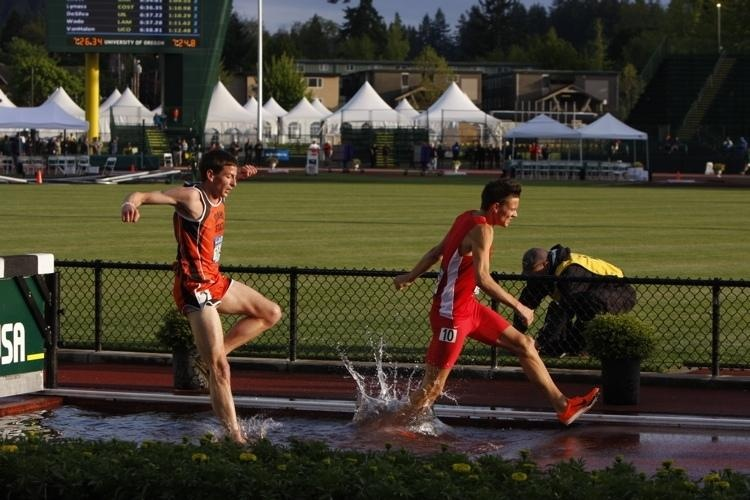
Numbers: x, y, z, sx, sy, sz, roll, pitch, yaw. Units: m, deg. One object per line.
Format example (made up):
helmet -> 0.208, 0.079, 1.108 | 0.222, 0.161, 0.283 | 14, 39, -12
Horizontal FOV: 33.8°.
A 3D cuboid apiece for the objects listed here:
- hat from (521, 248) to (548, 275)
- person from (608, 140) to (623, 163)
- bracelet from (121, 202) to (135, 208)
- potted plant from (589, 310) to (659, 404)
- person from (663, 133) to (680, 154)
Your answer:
hat -> 2.226, 0.162, 17.122 | 0.268, 0.198, 0.388 | 9, 43, 39
person -> 11.320, -4.631, 57.802 | 0.437, 1.235, 0.712 | 3, 3, -10
bracelet -> -2.879, -0.538, 14.299 | 0.104, 0.057, 0.200 | -6, 12, -40
potted plant -> 3.145, 1.367, 16.005 | 0.979, 1.072, 0.873 | 6, -12, -21
person -> 13.907, -4.841, 57.745 | 0.729, 0.741, 0.693 | 2, 9, 9
